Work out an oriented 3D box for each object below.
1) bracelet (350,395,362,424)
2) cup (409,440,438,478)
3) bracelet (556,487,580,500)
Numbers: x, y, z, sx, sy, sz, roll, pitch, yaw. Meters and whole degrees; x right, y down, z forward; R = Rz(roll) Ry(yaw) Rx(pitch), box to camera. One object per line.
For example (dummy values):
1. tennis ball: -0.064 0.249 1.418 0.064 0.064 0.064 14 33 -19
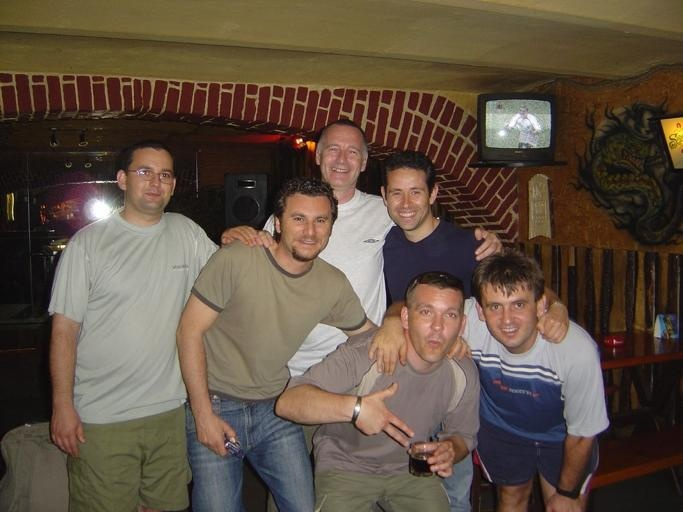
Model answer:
1. bracelet: 0.083 0.832 3.030 0.030 0.103 0.111 13 6 12
2. cup: 0.449 1.153 3.147 0.125 0.175 0.138 1 4 6
3. bracelet: 1.420 1.469 3.495 0.096 0.049 0.088 3 -4 -6
